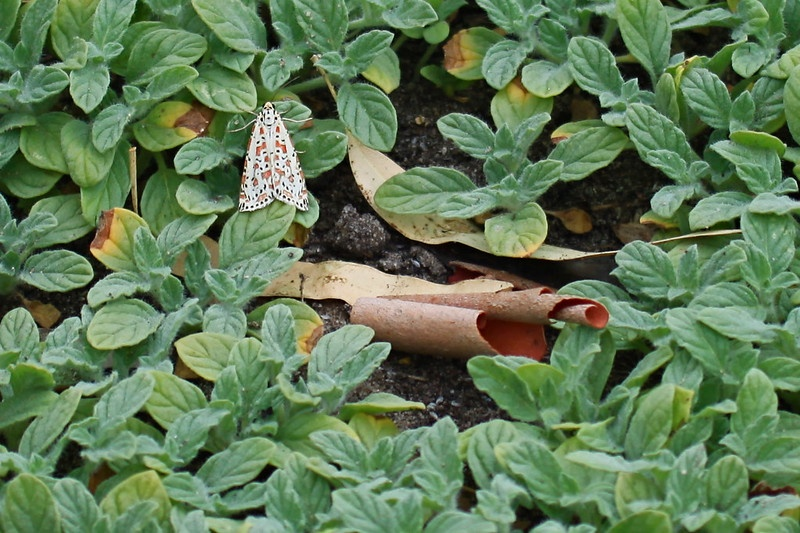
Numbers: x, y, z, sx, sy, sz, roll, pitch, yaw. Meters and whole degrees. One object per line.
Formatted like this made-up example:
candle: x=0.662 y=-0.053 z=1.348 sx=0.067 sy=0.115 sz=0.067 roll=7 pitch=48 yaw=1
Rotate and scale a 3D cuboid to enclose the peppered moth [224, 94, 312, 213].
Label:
peppered moth: x=-0.544 y=-0.446 z=3.447 sx=0.320 sy=0.131 sz=0.454 roll=-2 pitch=79 yaw=-5
